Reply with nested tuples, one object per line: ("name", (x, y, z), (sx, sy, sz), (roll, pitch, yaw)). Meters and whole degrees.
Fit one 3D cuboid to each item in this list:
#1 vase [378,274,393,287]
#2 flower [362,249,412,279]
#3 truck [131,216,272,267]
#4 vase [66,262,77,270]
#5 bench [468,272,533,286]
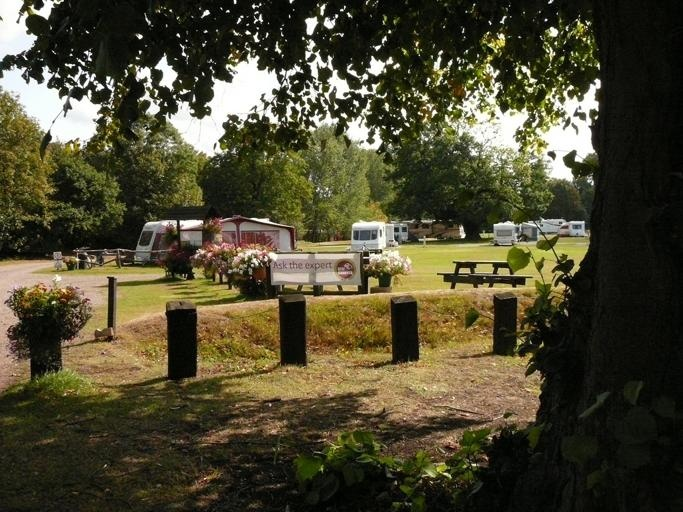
("vase", (1.232, 0.683, 18.257), (0.342, 0.277, 0.361), (-1, 2, 6))
("flower", (1.182, 0.247, 18.525), (0.951, 0.682, 0.948), (2, -2, -27))
("truck", (-9.515, -1.006, 43.851), (2.619, 3.032, 9.860), (0, 1, 40))
("vase", (-14.768, 0.520, 34.758), (0.481, 0.407, 0.520), (-1, 12, -37))
("bench", (4.390, 0.698, 17.811), (1.081, 0.251, 2.439), (2, 0, -5))
